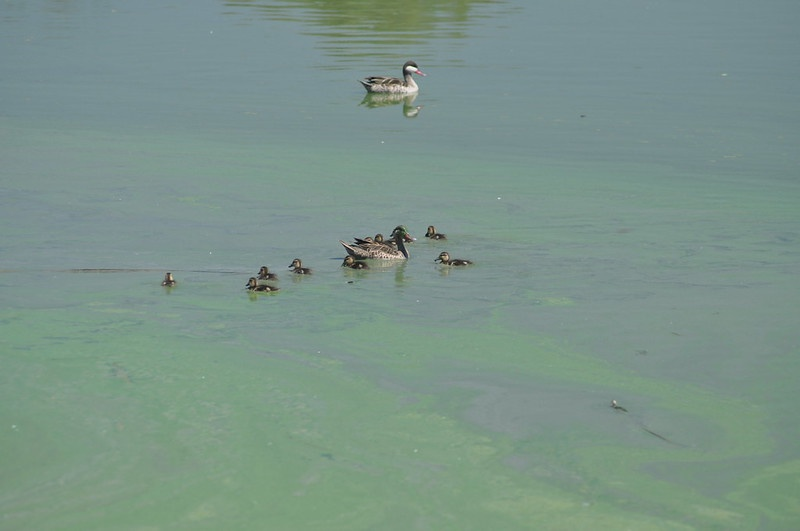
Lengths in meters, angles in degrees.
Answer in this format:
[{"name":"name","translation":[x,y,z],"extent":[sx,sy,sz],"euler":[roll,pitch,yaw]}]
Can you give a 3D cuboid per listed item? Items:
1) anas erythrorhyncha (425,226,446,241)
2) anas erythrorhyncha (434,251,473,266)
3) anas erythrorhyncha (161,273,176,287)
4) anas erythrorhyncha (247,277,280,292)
[{"name":"anas erythrorhyncha","translation":[1.049,-0.934,27.844],"extent":[0.331,0.214,0.764],"euler":[-2,13,-24]},{"name":"anas erythrorhyncha","translation":[1.484,-0.182,26.321],"extent":[1.133,0.350,0.474],"euler":[15,26,35]},{"name":"anas erythrorhyncha","translation":[-6.097,0.384,25.008],"extent":[0.456,0.152,0.415],"euler":[4,34,-2]},{"name":"anas erythrorhyncha","translation":[-3.644,0.488,24.884],"extent":[0.945,0.320,0.462],"euler":[2,22,3]}]
